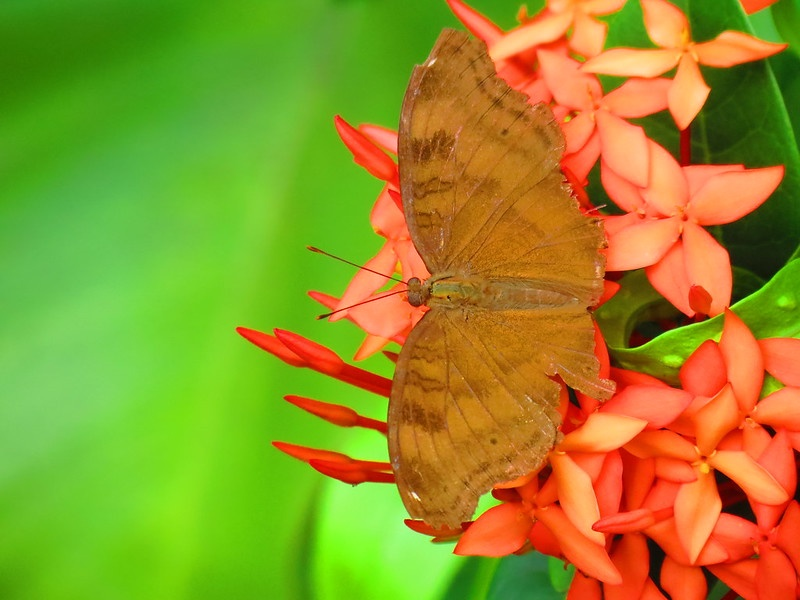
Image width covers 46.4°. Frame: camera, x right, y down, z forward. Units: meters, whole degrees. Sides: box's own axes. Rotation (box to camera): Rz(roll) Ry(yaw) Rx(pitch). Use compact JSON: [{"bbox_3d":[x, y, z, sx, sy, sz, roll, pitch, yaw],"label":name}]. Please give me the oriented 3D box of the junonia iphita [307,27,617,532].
[{"bbox_3d":[0.104,-0.010,0.996,0.245,0.128,0.502,1,-40,-2],"label":"junonia iphita"}]
